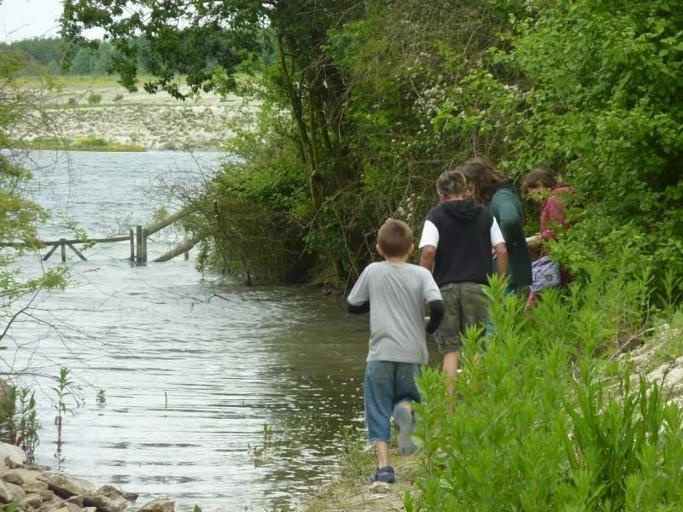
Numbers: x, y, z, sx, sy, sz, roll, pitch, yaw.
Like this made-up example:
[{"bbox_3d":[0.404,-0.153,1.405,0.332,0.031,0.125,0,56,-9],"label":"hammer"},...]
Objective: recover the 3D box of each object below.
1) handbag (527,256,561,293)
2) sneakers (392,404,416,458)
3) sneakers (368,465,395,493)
[{"bbox_3d":[2.746,0.241,17.702,0.552,0.542,0.189,-4,-9,28],"label":"handbag"},{"bbox_3d":[0.756,2.034,15.415,0.221,0.603,0.261,-8,-8,19],"label":"sneakers"},{"bbox_3d":[0.485,2.579,15.391,0.160,0.178,0.399,1,-1,-14],"label":"sneakers"}]
